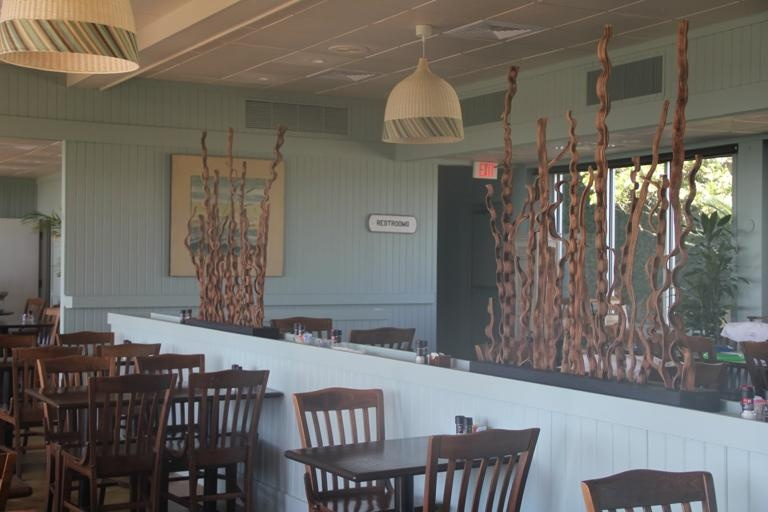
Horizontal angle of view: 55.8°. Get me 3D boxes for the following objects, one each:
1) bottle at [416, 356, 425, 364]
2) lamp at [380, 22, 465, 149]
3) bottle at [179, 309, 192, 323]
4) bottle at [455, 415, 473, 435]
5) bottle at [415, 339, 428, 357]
[{"bbox_3d":[0.239,0.708,4.892,0.045,0.087,0.046,-1,-2,0],"label":"bottle"},{"bbox_3d":[0.309,-1.432,6.268,0.771,1.059,0.766,1,-4,-13],"label":"lamp"},{"bbox_3d":[-2.113,0.649,7.698,0.135,0.148,0.138,2,0,29],"label":"bottle"},{"bbox_3d":[0.464,1.021,4.312,0.076,0.124,0.121,4,-7,-44],"label":"bottle"},{"bbox_3d":[0.263,0.634,4.969,0.122,0.125,0.071,3,-4,-32],"label":"bottle"}]
